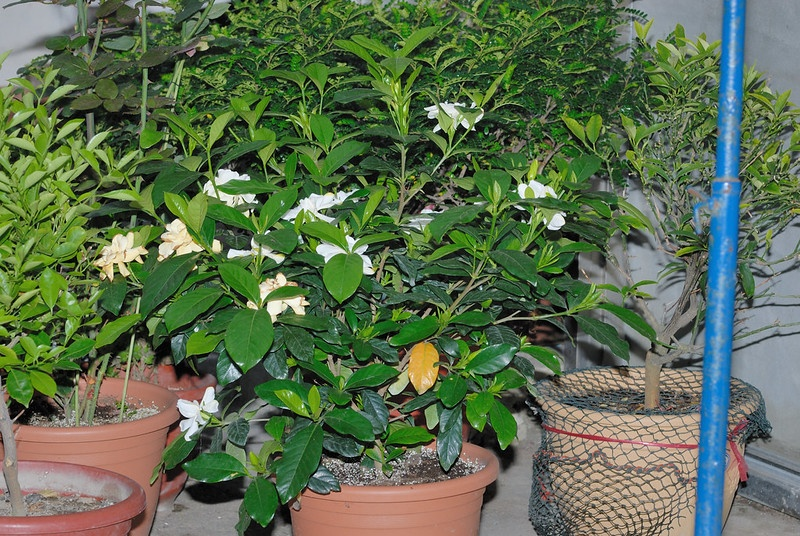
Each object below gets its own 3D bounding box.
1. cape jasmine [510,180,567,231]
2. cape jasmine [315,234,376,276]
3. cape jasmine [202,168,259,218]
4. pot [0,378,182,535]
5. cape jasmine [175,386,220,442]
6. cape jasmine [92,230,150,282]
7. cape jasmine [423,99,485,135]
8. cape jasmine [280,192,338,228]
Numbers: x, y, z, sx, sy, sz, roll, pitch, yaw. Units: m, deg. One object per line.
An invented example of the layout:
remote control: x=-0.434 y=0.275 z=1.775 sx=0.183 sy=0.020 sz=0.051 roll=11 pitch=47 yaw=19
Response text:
cape jasmine: x=0.477 y=-0.212 z=2.088 sx=0.170 sy=0.146 sz=0.189 roll=3 pitch=-1 yaw=7
cape jasmine: x=-0.171 y=-0.044 z=1.979 sx=0.183 sy=0.124 sz=0.149 roll=4 pitch=-1 yaw=-12
cape jasmine: x=-0.573 y=-0.253 z=2.137 sx=0.187 sy=0.179 sz=0.079 roll=4 pitch=-38 yaw=-13
pot: x=-1.252 y=0.685 z=2.585 sx=0.668 sy=0.490 sz=0.680 roll=3 pitch=13 yaw=-1
cape jasmine: x=-0.672 y=0.490 z=2.103 sx=0.153 sy=0.191 sz=0.095 roll=3 pitch=-1 yaw=28
cape jasmine: x=-0.994 y=-0.038 z=2.198 sx=0.201 sy=0.185 sz=0.112 roll=2 pitch=-2 yaw=39
cape jasmine: x=0.194 y=-0.541 z=2.215 sx=0.210 sy=0.106 sz=0.191 roll=3 pitch=-2 yaw=2
cape jasmine: x=-0.297 y=-0.202 z=2.082 sx=0.155 sy=0.094 sz=0.152 roll=5 pitch=-2 yaw=-36
